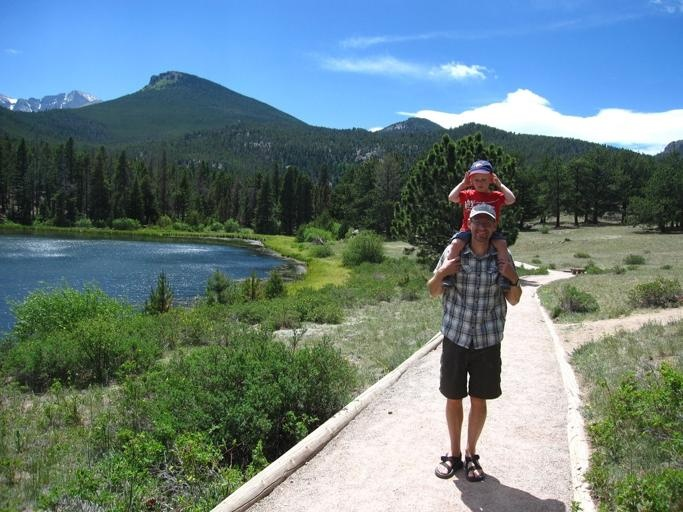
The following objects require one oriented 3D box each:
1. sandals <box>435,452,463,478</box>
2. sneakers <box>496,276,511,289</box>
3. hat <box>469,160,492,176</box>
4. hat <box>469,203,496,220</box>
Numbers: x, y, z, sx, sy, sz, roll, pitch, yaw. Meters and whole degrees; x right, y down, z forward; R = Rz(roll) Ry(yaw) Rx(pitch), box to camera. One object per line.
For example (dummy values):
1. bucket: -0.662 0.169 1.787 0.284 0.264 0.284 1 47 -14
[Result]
1. sandals: 1.371 2.708 7.275 0.161 0.190 0.404 -6 -15 37
2. sneakers: 2.045 0.328 7.138 0.181 0.159 0.077 -1 4 13
3. hat: 1.876 -1.203 7.631 0.289 0.208 0.399 -1 4 12
4. hat: 1.801 -0.560 7.185 0.337 0.226 0.240 -1 4 8
